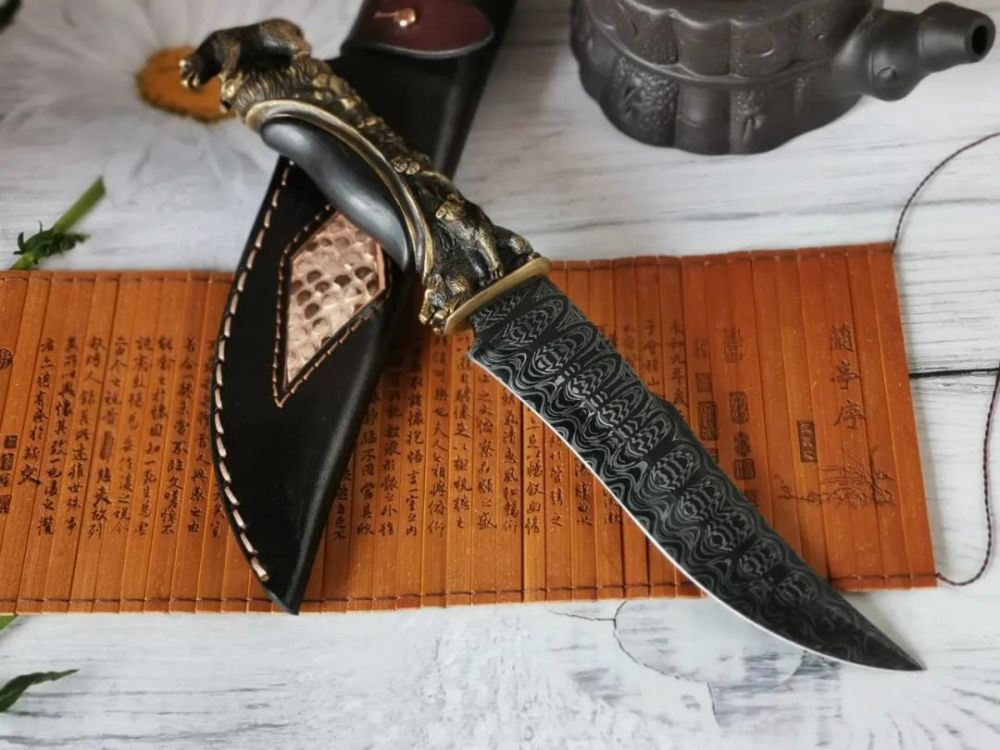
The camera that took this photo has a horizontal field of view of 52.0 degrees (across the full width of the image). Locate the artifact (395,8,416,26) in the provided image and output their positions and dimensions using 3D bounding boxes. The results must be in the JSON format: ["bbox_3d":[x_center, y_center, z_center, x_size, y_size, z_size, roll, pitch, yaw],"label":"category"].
[{"bbox_3d":[-0.201,-0.736,2.141,0.040,0.010,0.038,0,93,9],"label":"artifact"}]
